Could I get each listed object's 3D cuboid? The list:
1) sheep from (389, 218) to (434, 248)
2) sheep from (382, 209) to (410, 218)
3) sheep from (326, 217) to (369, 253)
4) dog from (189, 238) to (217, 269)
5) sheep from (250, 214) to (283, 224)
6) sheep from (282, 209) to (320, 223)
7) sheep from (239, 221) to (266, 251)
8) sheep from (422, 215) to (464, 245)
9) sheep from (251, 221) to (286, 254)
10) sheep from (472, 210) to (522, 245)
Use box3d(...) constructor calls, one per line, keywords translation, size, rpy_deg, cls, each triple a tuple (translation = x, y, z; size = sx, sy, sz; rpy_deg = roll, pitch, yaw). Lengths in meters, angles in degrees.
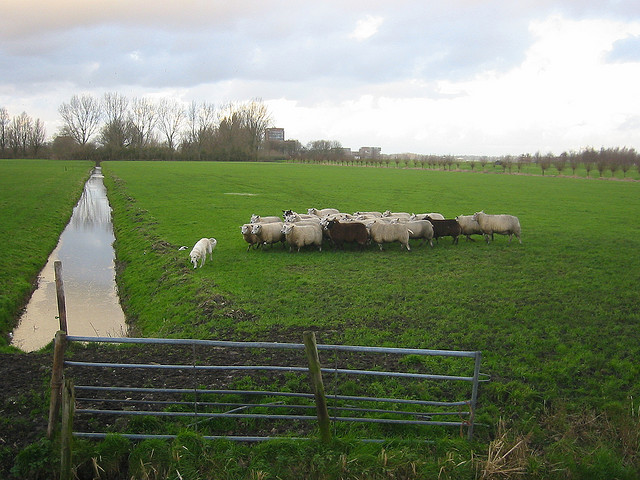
box3d(translation=(4.250, -0.330, 23.390), size=(2.223, 1.136, 0.672), rpy_deg=(2, 5, 3), cls="sheep")
box3d(translation=(4.018, -1.263, 26.029), size=(1.453, 0.789, 0.498), rpy_deg=(1, 21, 11), cls="sheep")
box3d(translation=(1.305, -0.193, 22.842), size=(1.807, 1.437, 0.621), rpy_deg=(0, 7, 1), cls="sheep")
box3d(translation=(-4.976, 0.542, 21.223), size=(0.702, 1.078, 2.083), rpy_deg=(-1, 7, -4), cls="dog")
box3d(translation=(-2.720, -0.949, 25.288), size=(1.725, 0.852, 0.594), rpy_deg=(0, 14, -12), cls="sheep")
box3d(translation=(-0.942, -1.193, 25.639), size=(1.781, 0.913, 0.636), rpy_deg=(2, 9, -11), cls="sheep")
box3d(translation=(-3.216, -0.144, 23.124), size=(0.679, 1.277, 1.356), rpy_deg=(-1, 7, -8), cls="sheep")
box3d(translation=(5.874, -0.425, 24.035), size=(2.235, 1.383, 0.644), rpy_deg=(1, 4, 31), cls="sheep")
box3d(translation=(-2.336, -0.129, 23.395), size=(0.839, 1.303, 2.383), rpy_deg=(17, 14, 39), cls="sheep")
box3d(translation=(8.521, -0.576, 23.774), size=(2.161, 1.444, 0.813), rpy_deg=(2, 7, 16), cls="sheep")
